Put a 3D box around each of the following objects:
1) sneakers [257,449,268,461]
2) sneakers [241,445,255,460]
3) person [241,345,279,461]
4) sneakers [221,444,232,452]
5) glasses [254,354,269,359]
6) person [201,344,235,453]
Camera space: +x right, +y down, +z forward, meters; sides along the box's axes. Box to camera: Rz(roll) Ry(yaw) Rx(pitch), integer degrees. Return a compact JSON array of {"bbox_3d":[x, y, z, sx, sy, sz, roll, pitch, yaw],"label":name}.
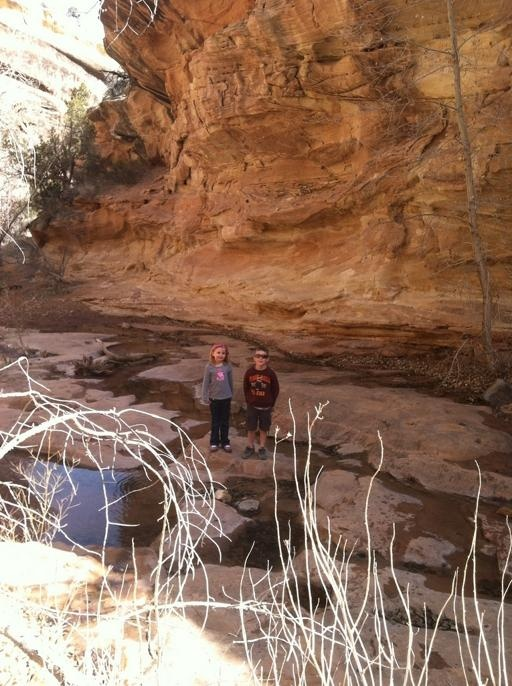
[{"bbox_3d":[0.048,1.056,6.044,0.087,0.081,0.212,1,-9,-1],"label":"sneakers"},{"bbox_3d":[-0.086,1.045,6.107,0.086,0.082,0.210,-5,-13,14],"label":"sneakers"},{"bbox_3d":[0.011,0.568,6.055,0.271,0.695,0.339,6,-3,-29],"label":"person"},{"bbox_3d":[-0.298,1.015,6.195,0.068,0.059,0.164,1,-6,-10],"label":"sneakers"},{"bbox_3d":[0.041,0.112,5.928,0.114,0.060,0.086,4,-2,-2],"label":"glasses"},{"bbox_3d":[-0.368,0.525,6.141,0.278,0.728,0.507,4,-2,14],"label":"person"}]
